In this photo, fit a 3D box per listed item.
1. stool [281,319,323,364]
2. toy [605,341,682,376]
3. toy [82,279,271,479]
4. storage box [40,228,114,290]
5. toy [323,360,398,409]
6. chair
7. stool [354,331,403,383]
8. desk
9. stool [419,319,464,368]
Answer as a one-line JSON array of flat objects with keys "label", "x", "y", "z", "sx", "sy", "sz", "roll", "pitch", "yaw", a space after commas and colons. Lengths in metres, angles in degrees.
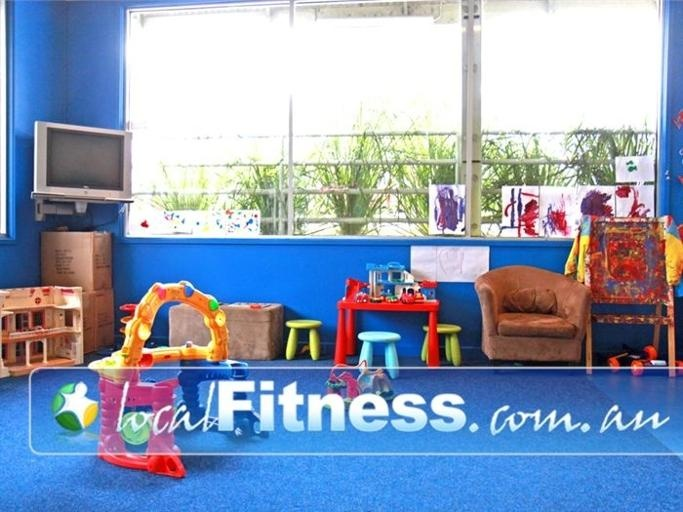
[{"label": "stool", "x": -0.362, "y": 0.799, "z": 6.448, "sx": 0.327, "sy": 0.364, "sz": 0.324, "roll": 2, "pitch": 5, "yaw": -4}, {"label": "toy", "x": 2.610, "y": 0.909, "z": 5.857, "sx": 0.420, "sy": 0.202, "sz": 0.574, "roll": -1, "pitch": -9, "yaw": -27}, {"label": "toy", "x": -1.117, "y": 0.757, "z": 4.496, "sx": 0.931, "sy": 1.103, "sz": 0.964, "roll": 2, "pitch": 4, "yaw": 35}, {"label": "storage box", "x": -2.550, "y": 0.054, "z": 6.829, "sx": 0.729, "sy": 0.583, "sz": 0.780, "roll": 1, "pitch": -1, "yaw": 23}, {"label": "toy", "x": 0.111, "y": 0.892, "z": 5.070, "sx": 0.484, "sy": 0.331, "sz": 0.444, "roll": -10, "pitch": 18, "yaw": -34}, {"label": "chair", "x": 1.688, "y": 0.548, "z": 6.123, "sx": 0.992, "sy": 0.915, "sz": 0.983, "roll": 2, "pitch": -2, "yaw": -3}, {"label": "stool", "x": 0.340, "y": 0.877, "z": 5.856, "sx": 0.348, "sy": 0.362, "sz": 0.351, "roll": 0, "pitch": 0, "yaw": -2}, {"label": "desk", "x": 0.446, "y": 0.689, "z": 6.334, "sx": 0.939, "sy": 0.658, "sz": 0.596, "roll": 0, "pitch": 7, "yaw": 9}, {"label": "stool", "x": 0.908, "y": 0.792, "z": 6.290, "sx": 0.324, "sy": 0.353, "sz": 0.321, "roll": 5, "pitch": 13, "yaw": -3}]
